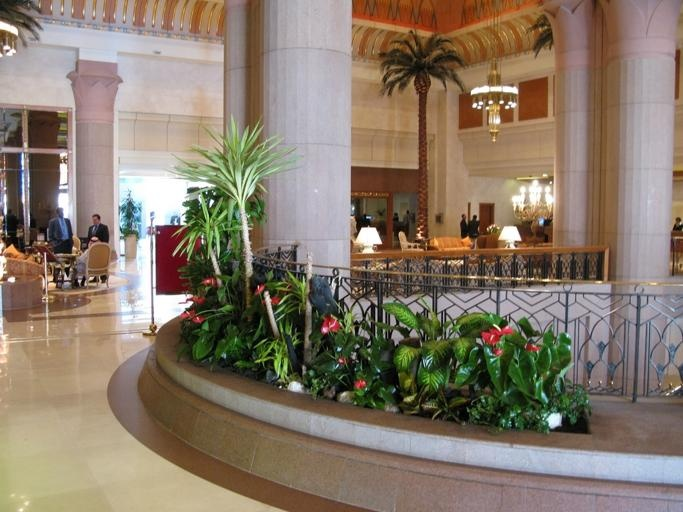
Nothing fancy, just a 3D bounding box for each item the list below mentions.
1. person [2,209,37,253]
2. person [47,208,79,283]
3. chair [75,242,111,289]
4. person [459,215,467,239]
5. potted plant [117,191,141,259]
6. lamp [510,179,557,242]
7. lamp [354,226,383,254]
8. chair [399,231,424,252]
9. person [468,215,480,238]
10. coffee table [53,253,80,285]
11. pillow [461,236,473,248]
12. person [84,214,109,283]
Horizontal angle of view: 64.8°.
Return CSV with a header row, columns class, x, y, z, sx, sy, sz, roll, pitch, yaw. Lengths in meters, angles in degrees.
class,x,y,z,sx,sy,sz,roll,pitch,yaw
person,-9.943,-0.834,16.782,0.899,1.315,0.805,-10,10,-32
person,-6.860,-0.344,13.356,0.406,1.744,0.565,12,15,41
chair,-5.680,0.100,12.459,0.631,1.102,0.755,3,14,-27
person,4.890,-1.190,21.427,0.232,0.837,1.087,-2,9,14
potted plant,-8.119,-1.263,20.879,0.810,2.637,0.862,-5,-4,42
lamp,6.187,-1.439,17.367,1.222,2.279,1.265,-3,8,-14
lamp,0.570,-0.346,11.200,0.634,0.784,0.713,0,-4,2
chair,2.442,-0.492,19.149,0.634,0.996,0.691,-1,8,3
person,5.091,-1.175,20.861,0.390,0.824,0.942,-3,9,12
coffee table,-6.542,0.370,12.971,0.670,0.812,0.661,-1,-4,-36
pillow,4.245,-0.440,18.300,0.106,0.362,0.356,-28,-1,42
person,-5.996,-0.195,13.287,0.520,1.646,0.461,1,4,15
